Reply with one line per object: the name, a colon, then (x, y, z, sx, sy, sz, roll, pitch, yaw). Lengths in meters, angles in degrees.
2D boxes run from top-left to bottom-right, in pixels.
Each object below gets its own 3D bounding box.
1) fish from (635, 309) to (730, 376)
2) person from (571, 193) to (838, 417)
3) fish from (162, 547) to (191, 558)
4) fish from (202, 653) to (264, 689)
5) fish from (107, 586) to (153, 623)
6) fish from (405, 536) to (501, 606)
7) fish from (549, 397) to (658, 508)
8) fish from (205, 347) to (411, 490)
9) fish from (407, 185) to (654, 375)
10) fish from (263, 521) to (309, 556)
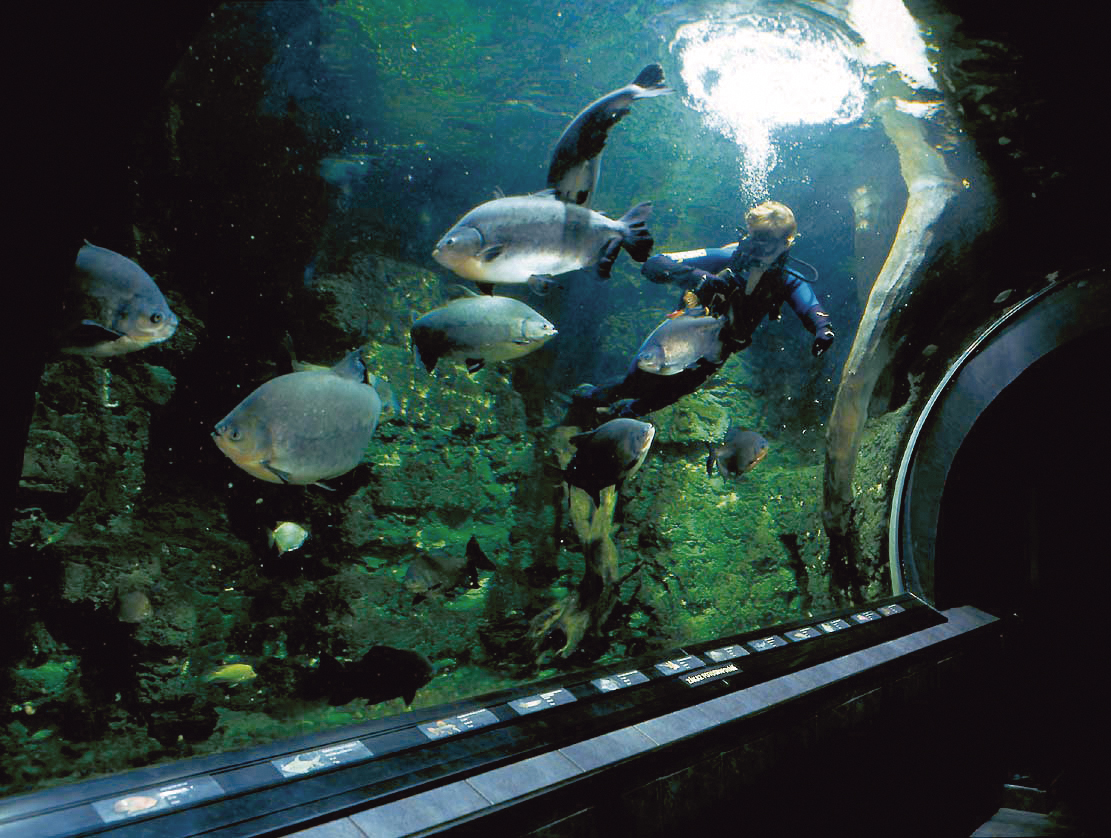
fish: (0.516, -0.308, 3.946, 0.478, 0.250, 0.138, -15, 18, -24)
person: (0.657, -0.398, 4.035, 0.668, 0.472, 1.152, 32, 76, 31)
fish: (-1.197, 0.420, 2.996, 0.098, 0.034, 0.034, 0, 52, -15)
fish: (-1.039, 0.813, 3.050, 0.220, 0.055, 0.123, 4, 87, -25)
fish: (-1.313, 0.580, 2.945, 0.102, 0.065, 0.093, -15, 57, -25)
fish: (-0.386, 0.543, 3.407, 0.350, 0.149, 0.134, -18, 59, -27)
fish: (0.212, 0.133, 3.818, 0.509, 0.286, 0.235, -23, 61, -29)
fish: (-0.735, 0.013, 3.171, 0.825, 0.445, 0.218, -5, 22, -37)
fish: (-0.054, -0.635, 3.354, 1.011, 0.469, 0.264, -10, 23, -28)
fish: (-0.875, 0.388, 3.104, 0.126, 0.078, 0.083, 0, 52, -15)
